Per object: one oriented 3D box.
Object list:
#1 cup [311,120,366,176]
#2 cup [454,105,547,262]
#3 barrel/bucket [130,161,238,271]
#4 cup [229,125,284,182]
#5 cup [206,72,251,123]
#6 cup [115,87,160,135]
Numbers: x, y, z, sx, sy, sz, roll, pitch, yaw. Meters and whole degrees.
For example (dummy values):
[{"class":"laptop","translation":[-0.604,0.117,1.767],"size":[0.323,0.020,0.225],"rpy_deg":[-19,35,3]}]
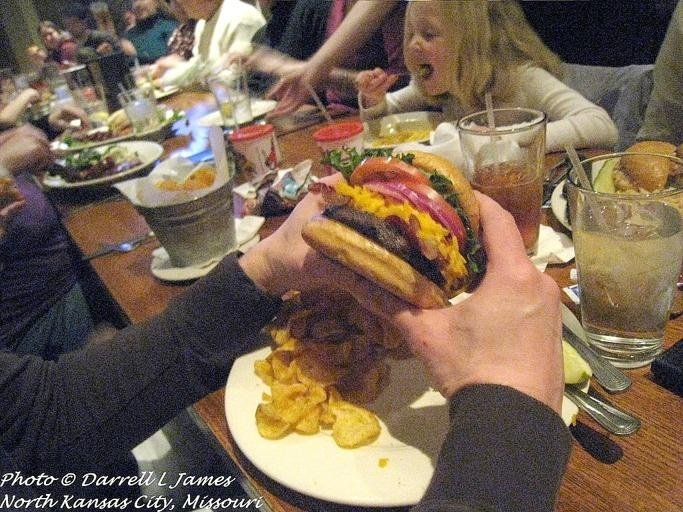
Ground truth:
[{"class":"cup","translation":[-0.015,-0.346,1.748],"size":[0.177,0.133,0.180],"rpy_deg":[-4,37,3]},{"class":"cup","translation":[0.338,-0.167,1.262],"size":[0.207,0.339,0.190],"rpy_deg":[-7,31,4]},{"class":"barrel/bucket","translation":[-0.376,-0.085,1.341],"size":[0.252,0.265,0.200],"rpy_deg":[-5,21,-12]},{"class":"cup","translation":[-0.295,-0.350,1.835],"size":[0.161,0.170,0.163],"rpy_deg":[-5,33,3]},{"class":"cup","translation":[-0.386,-0.550,1.889],"size":[0.114,0.166,0.095],"rpy_deg":[-21,29,-36]},{"class":"cup","translation":[-0.637,-0.462,1.752],"size":[0.116,0.130,0.117],"rpy_deg":[-16,20,6]}]
